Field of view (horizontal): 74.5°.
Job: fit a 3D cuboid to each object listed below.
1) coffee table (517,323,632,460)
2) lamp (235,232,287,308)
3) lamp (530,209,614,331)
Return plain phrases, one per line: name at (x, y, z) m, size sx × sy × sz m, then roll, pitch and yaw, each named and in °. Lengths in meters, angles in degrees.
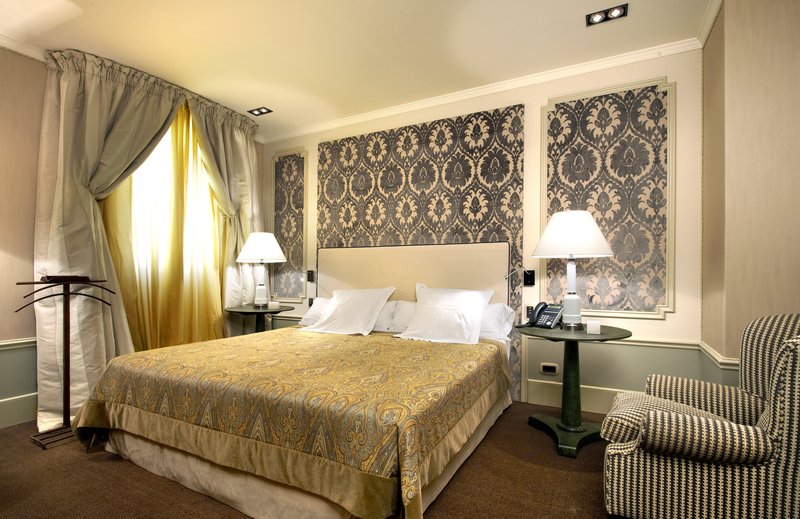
coffee table at (1.606, 1.180, 5.140) m, size 1.076 × 1.083 × 1.092 m, roll -2°, pitch -3°, yaw 30°
lamp at (-1.747, 0.135, 6.598) m, size 0.602 × 0.946 × 0.630 m, roll 0°, pitch -3°, yaw 12°
lamp at (1.589, 0.076, 5.015) m, size 0.675 × 1.074 × 0.499 m, roll -1°, pitch 1°, yaw 2°
